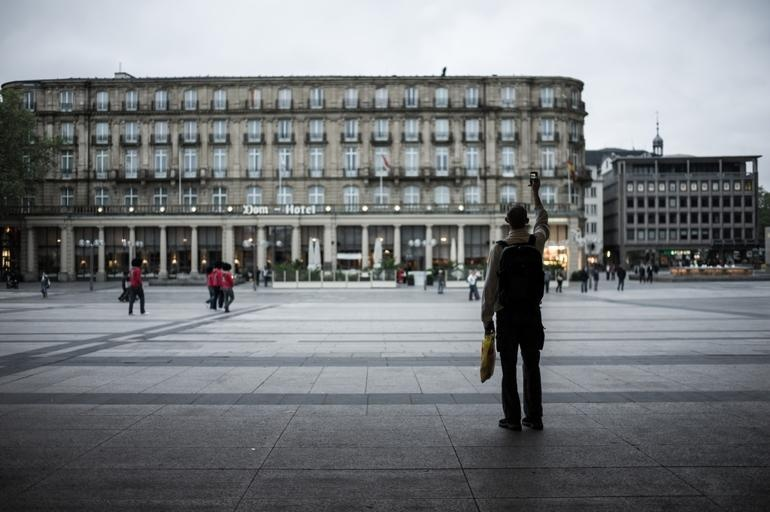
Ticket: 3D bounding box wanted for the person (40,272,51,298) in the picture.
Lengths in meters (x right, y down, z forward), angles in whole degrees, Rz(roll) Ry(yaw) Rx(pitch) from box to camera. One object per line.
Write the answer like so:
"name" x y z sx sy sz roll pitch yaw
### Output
"person" -19.509 1.760 49.279 0.408 1.539 2.732 -5 13 -23
